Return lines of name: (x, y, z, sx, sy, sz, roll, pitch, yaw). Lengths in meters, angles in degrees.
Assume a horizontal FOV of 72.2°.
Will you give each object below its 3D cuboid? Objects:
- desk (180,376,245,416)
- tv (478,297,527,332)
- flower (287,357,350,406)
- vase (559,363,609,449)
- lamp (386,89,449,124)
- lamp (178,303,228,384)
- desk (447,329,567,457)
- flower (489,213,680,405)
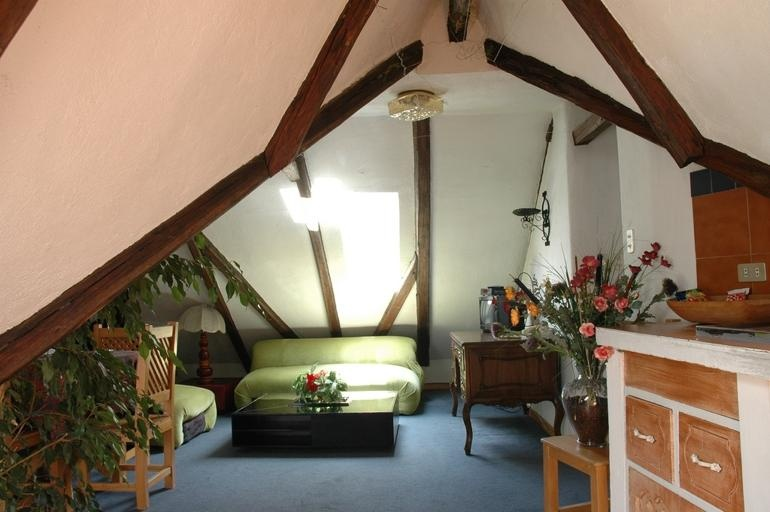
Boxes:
desk: (-1.964, 1.561, 6.103, 0.396, 0.284, 0.565, 0, -3, 4)
tv: (1.129, 0.549, 5.027, 0.303, 0.365, 0.538, -5, -2, -16)
flower: (-0.679, 1.199, 4.952, 0.411, 0.223, 0.512, -1, 1, 34)
vase: (1.172, 0.832, 2.979, 0.330, 0.470, 0.298, 0, -4, -41)
lamp: (0.241, -1.158, 4.038, 0.406, 0.230, 0.258, -2, 0, 0)
lamp: (-2.106, 1.003, 6.149, 0.504, 0.928, 0.683, -2, 0, -18)
desk: (1.061, 1.205, 4.962, 0.847, 0.859, 1.391, -1, -5, -2)
flower: (1.153, 0.260, 2.912, 0.539, 0.554, 0.554, -6, 17, 37)
